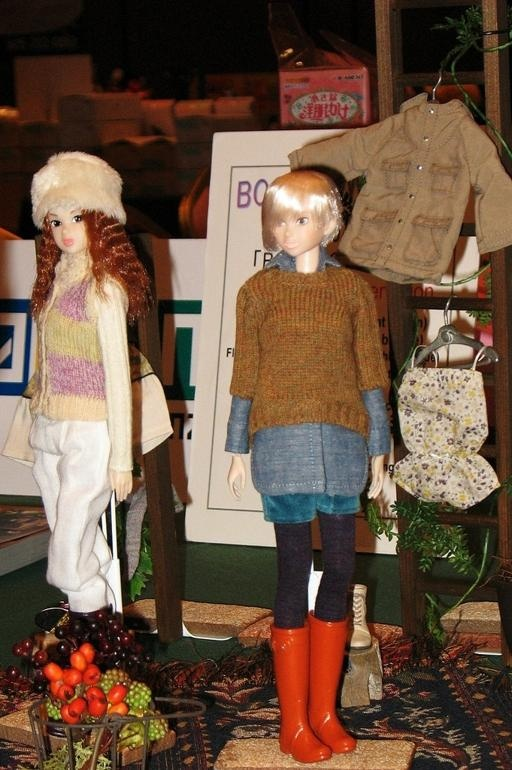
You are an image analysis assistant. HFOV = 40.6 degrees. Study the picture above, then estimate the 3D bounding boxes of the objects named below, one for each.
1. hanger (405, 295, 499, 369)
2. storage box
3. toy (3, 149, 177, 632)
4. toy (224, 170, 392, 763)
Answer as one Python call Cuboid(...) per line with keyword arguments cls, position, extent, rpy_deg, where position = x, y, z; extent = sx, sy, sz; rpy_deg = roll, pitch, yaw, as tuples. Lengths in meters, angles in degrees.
Cuboid(cls="hanger", position=(0.561, -0.140, 2.054), extent=(0.319, 0.188, 0.013), rpy_deg=(-16, 8, -23))
Cuboid(cls="storage box", position=(0.378, -1.816, 4.239), extent=(0.709, 0.486, 0.676), rpy_deg=(-11, 21, -24))
Cuboid(cls="toy", position=(-0.525, 0.004, 2.014), extent=(0.406, 1.307, 0.393), rpy_deg=(0, -4, -7))
Cuboid(cls="toy", position=(0.129, 0.196, 1.819), extent=(0.433, 1.484, 0.284), rpy_deg=(-1, -4, 8))
